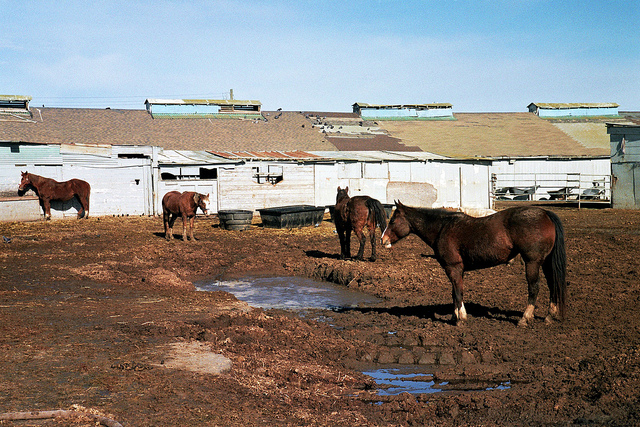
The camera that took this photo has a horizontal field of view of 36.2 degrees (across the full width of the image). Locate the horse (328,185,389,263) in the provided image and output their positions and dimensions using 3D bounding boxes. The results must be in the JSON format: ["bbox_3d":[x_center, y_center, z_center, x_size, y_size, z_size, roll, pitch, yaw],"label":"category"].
[{"bbox_3d":[1.358,0.384,33.894,1.637,2.465,3.105,-2,4,0],"label":"horse"}]

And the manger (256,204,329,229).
[{"bbox_3d":[-1.106,0.201,41.500,2.384,0.830,1.052,-3,4,-27],"label":"manger"}]

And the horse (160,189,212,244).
[{"bbox_3d":[-5.172,0.106,37.610,1.699,1.915,2.945,-2,4,-9],"label":"horse"}]

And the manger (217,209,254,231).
[{"bbox_3d":[-3.491,0.308,40.591,1.347,0.814,0.595,-2,4,-3],"label":"manger"}]

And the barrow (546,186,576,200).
[{"bbox_3d":[14.111,-1.081,57.653,1.695,0.750,0.909,-8,-31,14],"label":"barrow"}]
